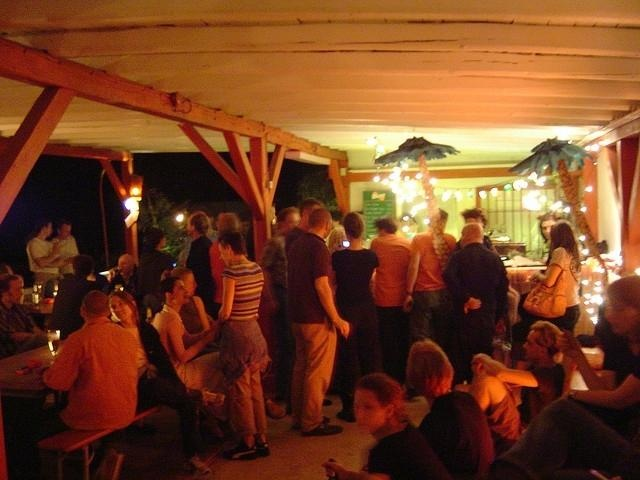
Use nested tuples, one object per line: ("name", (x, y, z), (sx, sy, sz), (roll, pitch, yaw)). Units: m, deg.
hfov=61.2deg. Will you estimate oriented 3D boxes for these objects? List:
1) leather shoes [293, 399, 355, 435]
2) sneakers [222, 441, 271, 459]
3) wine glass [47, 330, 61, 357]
("leather shoes", (0.089, 1.795, 5.391), (0.209, 0.269, 0.668), (4, 5, 42))
("sneakers", (-0.632, 1.884, 4.921), (0.425, 0.187, 0.154), (0, -7, 3))
("wine glass", (-2.485, 0.973, 5.130), (0.062, 0.249, 0.144), (-8, -18, 21))
